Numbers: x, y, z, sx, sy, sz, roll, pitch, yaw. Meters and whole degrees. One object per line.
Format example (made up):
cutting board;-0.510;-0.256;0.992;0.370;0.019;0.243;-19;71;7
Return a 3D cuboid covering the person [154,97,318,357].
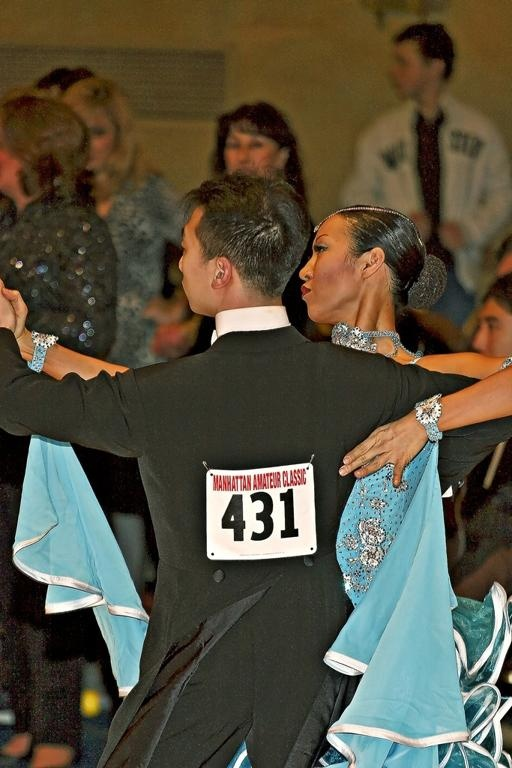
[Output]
person;-0.014;-0.581;3.163;0.461;0.577;0.916;-1;91;6
